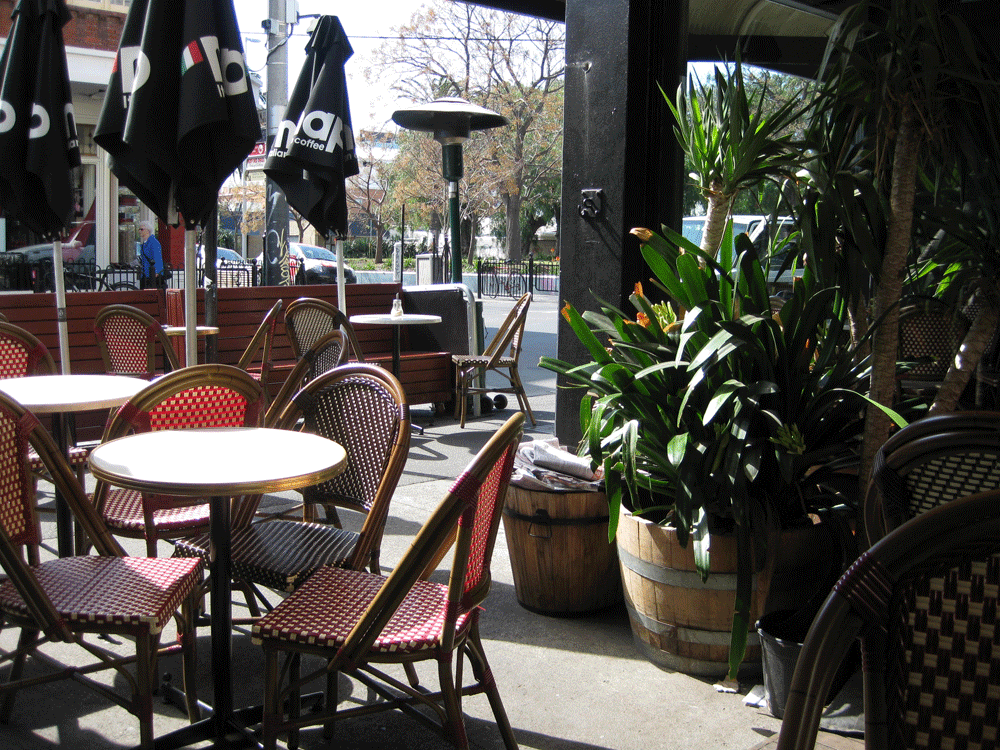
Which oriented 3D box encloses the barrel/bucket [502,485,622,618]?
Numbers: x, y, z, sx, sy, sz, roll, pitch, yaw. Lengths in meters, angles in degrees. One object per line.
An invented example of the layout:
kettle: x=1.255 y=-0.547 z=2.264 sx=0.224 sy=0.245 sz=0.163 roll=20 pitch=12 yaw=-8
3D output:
barrel/bucket: x=0.244 y=0.705 z=4.030 sx=0.512 sy=0.520 sz=0.551 roll=-4 pitch=0 yaw=0

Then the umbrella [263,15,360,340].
umbrella: x=-1.127 y=-1.536 z=5.574 sx=0.495 sy=1.401 sz=0.697 roll=3 pitch=6 yaw=-3

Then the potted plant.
potted plant: x=0.617 y=0.376 z=3.608 sx=0.900 sy=1.288 sz=1.009 roll=0 pitch=32 yaw=4

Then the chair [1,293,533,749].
chair: x=-0.517 y=0.664 z=2.730 sx=1.111 sy=1.235 sz=0.616 roll=6 pitch=7 yaw=17
